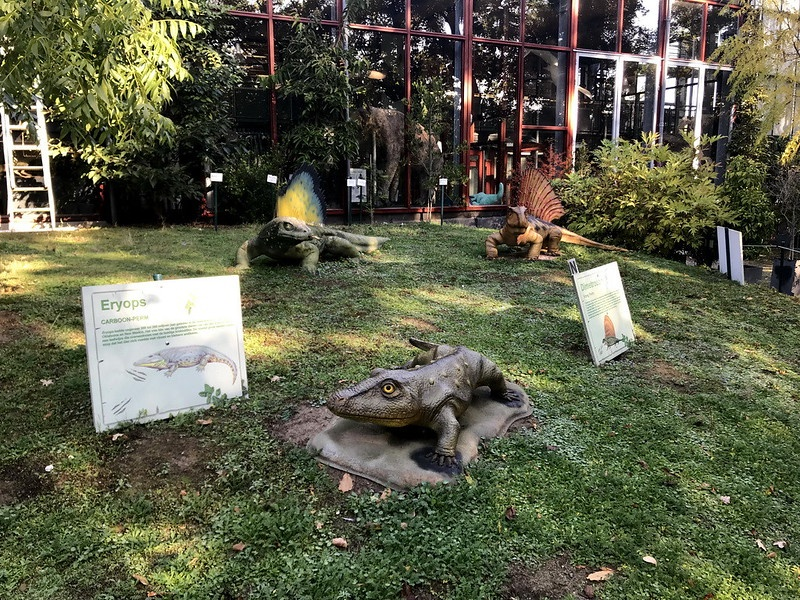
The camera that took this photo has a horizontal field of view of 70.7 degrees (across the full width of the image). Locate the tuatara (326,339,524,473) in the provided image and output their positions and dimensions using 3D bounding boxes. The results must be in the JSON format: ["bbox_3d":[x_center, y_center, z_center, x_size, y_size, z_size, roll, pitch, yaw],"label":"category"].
[{"bbox_3d":[0.253,0.602,4.546,1.250,0.578,1.822,8,21,26],"label":"tuatara"}]

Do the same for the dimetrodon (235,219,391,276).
[{"bbox_3d":[-1.315,-0.909,8.480,1.138,0.729,2.361,12,17,43],"label":"dimetrodon"}]

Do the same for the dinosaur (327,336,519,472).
[{"bbox_3d":[0.243,0.613,4.533,1.362,0.559,1.835,7,20,27],"label":"dinosaur"}]
